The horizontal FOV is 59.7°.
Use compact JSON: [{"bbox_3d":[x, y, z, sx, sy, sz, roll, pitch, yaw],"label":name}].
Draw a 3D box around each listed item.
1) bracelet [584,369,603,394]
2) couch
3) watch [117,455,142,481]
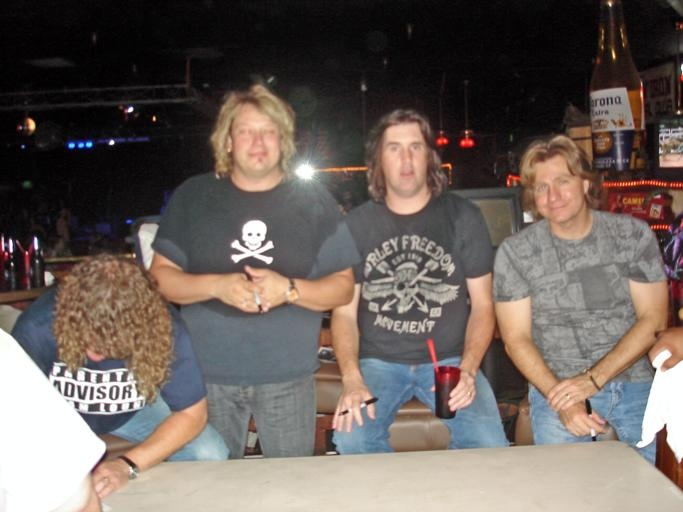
[{"bbox_3d":[1.469,0.725,3.471,0.101,0.037,0.123,30,15,-49],"label":"bracelet"},{"bbox_3d":[0.409,0.648,3.709,0.970,0.733,0.951,-19,-8,17],"label":"couch"},{"bbox_3d":[-0.944,0.936,2.638,0.031,0.078,0.076,-32,35,-11],"label":"watch"}]
